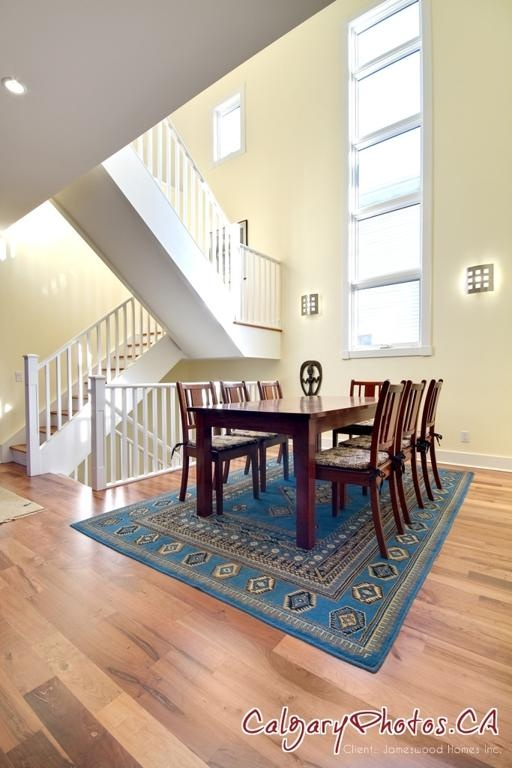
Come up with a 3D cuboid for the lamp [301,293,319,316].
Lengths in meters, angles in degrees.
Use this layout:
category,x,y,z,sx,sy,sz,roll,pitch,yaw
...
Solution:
category,x,y,z,sx,sy,sz,roll,pitch,yaw
lamp,0.578,-0.834,5.193,0.072,0.252,0.226,0,-1,-37
